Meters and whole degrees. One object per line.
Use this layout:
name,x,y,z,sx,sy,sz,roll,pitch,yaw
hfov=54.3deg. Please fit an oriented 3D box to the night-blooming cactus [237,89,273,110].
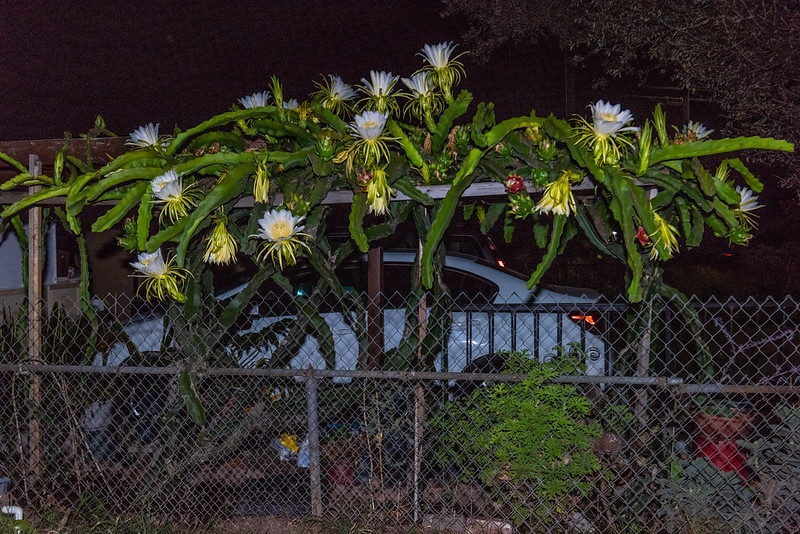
night-blooming cactus,-1.023,-1.161,5.446,0.197,0.160,0.267,-5,32,-11

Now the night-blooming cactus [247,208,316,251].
night-blooming cactus,-0.789,-0.246,5.195,0.323,0.310,0.336,-3,31,-7

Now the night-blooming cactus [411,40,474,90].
night-blooming cactus,0.279,-1.342,5.303,0.317,0.354,0.294,-10,-6,-21

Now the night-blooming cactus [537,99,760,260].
night-blooming cactus,1.671,-0.525,5.146,1.535,1.054,0.709,2,30,1

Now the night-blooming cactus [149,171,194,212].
night-blooming cactus,-1.525,-0.488,5.220,0.268,0.296,0.258,-8,32,-17

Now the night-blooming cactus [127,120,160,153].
night-blooming cactus,-1.803,-0.913,5.479,0.209,0.239,0.279,-8,32,-15

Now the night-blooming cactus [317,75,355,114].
night-blooming cactus,-0.448,-1.279,5.504,0.286,0.143,0.268,11,26,17
